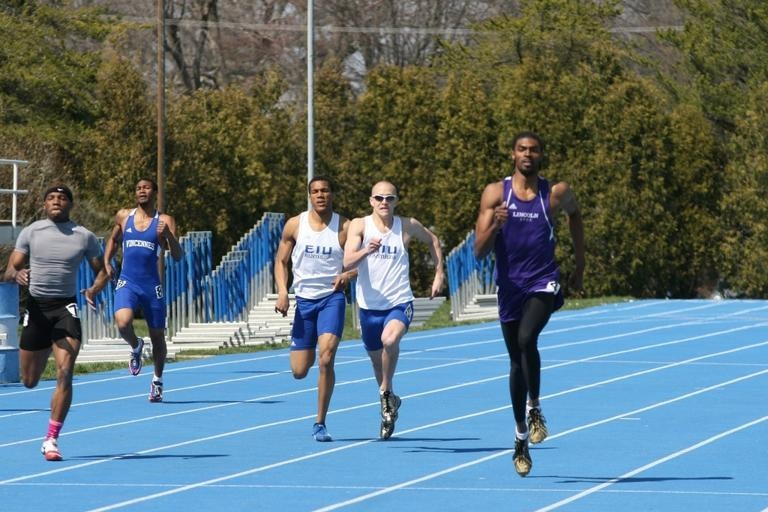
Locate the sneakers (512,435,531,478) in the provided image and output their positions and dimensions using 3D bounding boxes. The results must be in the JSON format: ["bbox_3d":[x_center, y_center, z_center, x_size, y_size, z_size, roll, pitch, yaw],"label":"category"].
[{"bbox_3d":[1.659,2.363,13.501,0.181,0.238,0.527,1,18,7],"label":"sneakers"}]

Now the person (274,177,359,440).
[{"bbox_3d":[-0.945,0.694,15.256,1.077,3.555,0.871,1,4,-6],"label":"person"}]

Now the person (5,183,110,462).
[{"bbox_3d":[-4.320,0.827,14.613,1.025,3.493,0.877,3,4,19],"label":"person"}]

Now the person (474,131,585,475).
[{"bbox_3d":[1.733,0.579,13.602,1.380,4.148,0.742,1,4,-7],"label":"person"}]

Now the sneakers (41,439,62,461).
[{"bbox_3d":[-4.244,2.460,14.317,0.156,0.189,0.428,3,-1,-31],"label":"sneakers"}]

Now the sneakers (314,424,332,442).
[{"bbox_3d":[-0.833,2.365,15.175,0.250,0.241,0.231,2,4,-3],"label":"sneakers"}]

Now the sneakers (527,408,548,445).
[{"bbox_3d":[1.888,2.037,13.795,0.184,0.217,0.496,-6,43,3],"label":"sneakers"}]
